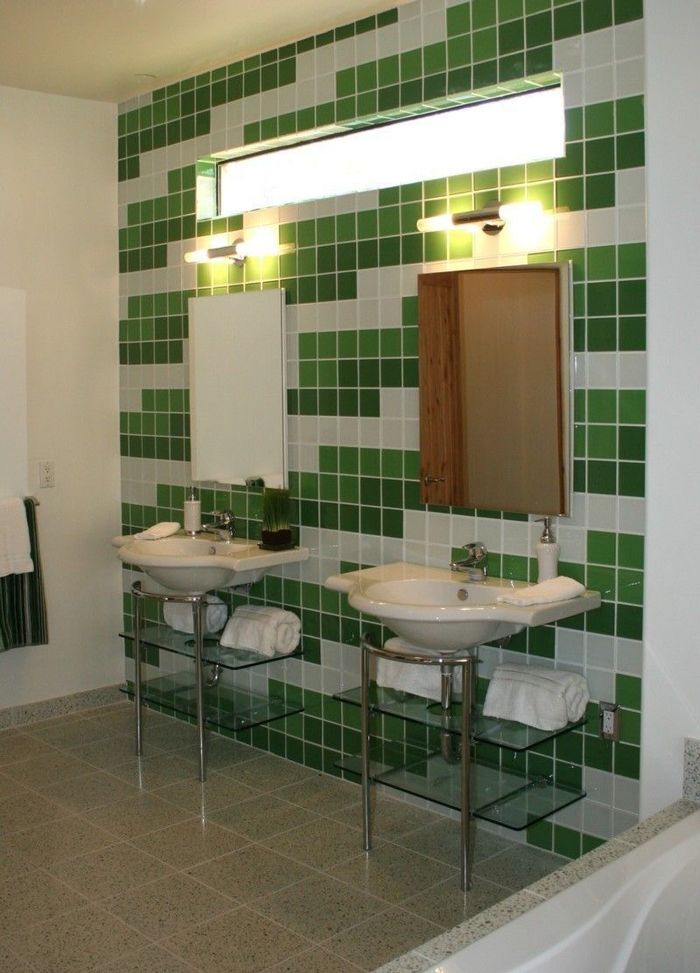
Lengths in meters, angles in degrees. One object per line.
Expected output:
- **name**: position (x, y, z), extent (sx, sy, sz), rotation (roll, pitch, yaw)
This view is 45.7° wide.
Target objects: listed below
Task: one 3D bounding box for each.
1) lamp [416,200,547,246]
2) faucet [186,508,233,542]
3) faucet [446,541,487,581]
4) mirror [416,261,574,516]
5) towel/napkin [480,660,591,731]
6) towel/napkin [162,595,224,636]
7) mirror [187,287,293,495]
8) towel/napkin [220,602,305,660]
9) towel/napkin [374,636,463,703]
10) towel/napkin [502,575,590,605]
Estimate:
- **lamp**: position (0.380, -0.756, 2.410), extent (0.355, 0.093, 0.163), rotation (0, 1, 45)
- **faucet**: position (-0.568, 0.168, 3.435), extent (0.085, 0.196, 0.318), rotation (-2, 2, -40)
- **faucet**: position (0.353, 0.234, 2.550), extent (0.084, 0.136, 0.132), rotation (1, 1, 39)
- **mirror**: position (0.384, -0.297, 2.506), extent (0.554, 0.737, 0.031), rotation (3, 7, 42)
- **towel/napkin**: position (0.529, 0.575, 2.339), extent (0.255, 0.124, 0.251), rotation (4, 4, 41)
- **towel/napkin**: position (-0.630, 0.533, 3.404), extent (0.165, 0.102, 0.217), rotation (0, 2, 22)
- **mirror**: position (-0.462, -0.366, 3.426), extent (0.408, 0.552, 0.029), rotation (4, 17, 6)
- **towel/napkin**: position (-0.340, 0.545, 3.146), extent (0.203, 0.103, 0.205), rotation (9, 4, 28)
- **towel/napkin**: position (0.182, 0.559, 2.502), extent (0.181, 0.070, 0.191), rotation (4, 19, 12)
- **towel/napkin**: position (0.506, 0.272, 2.136), extent (0.146, 0.025, 0.091), rotation (-12, 18, -38)
